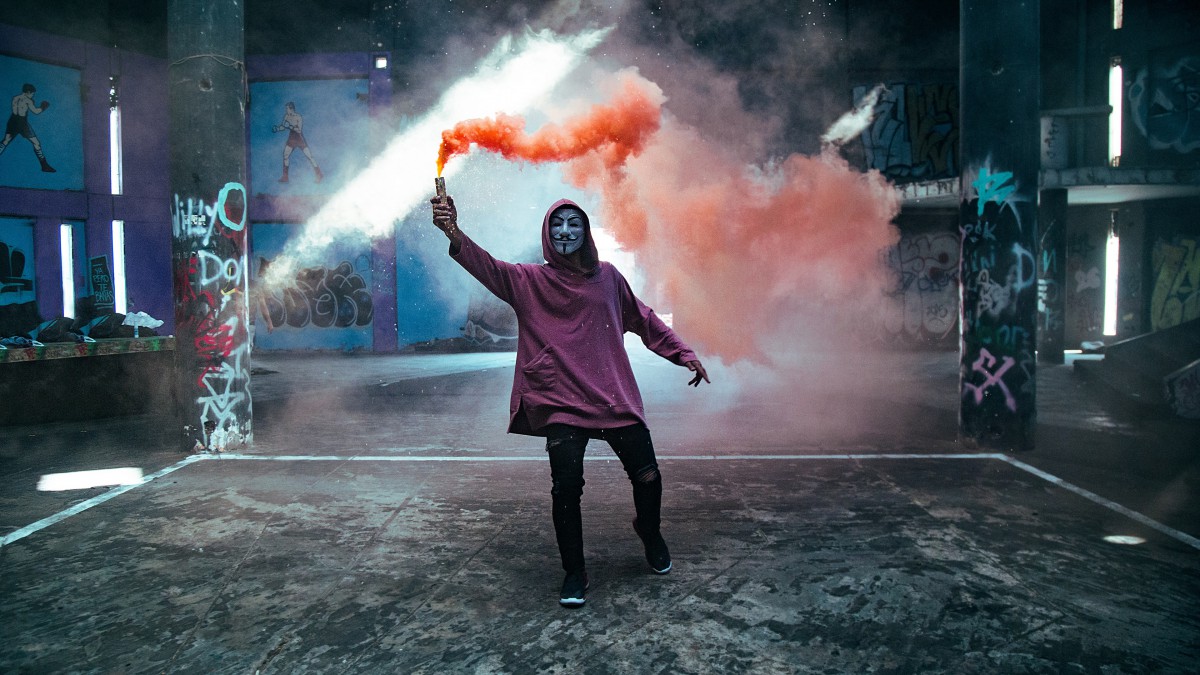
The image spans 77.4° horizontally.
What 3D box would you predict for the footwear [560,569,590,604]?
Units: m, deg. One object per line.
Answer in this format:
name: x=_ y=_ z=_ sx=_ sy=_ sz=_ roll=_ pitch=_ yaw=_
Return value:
footwear: x=-0.296 y=2.604 z=7.815 sx=0.296 sy=0.326 sz=0.169 roll=-4 pitch=5 yaw=-5
